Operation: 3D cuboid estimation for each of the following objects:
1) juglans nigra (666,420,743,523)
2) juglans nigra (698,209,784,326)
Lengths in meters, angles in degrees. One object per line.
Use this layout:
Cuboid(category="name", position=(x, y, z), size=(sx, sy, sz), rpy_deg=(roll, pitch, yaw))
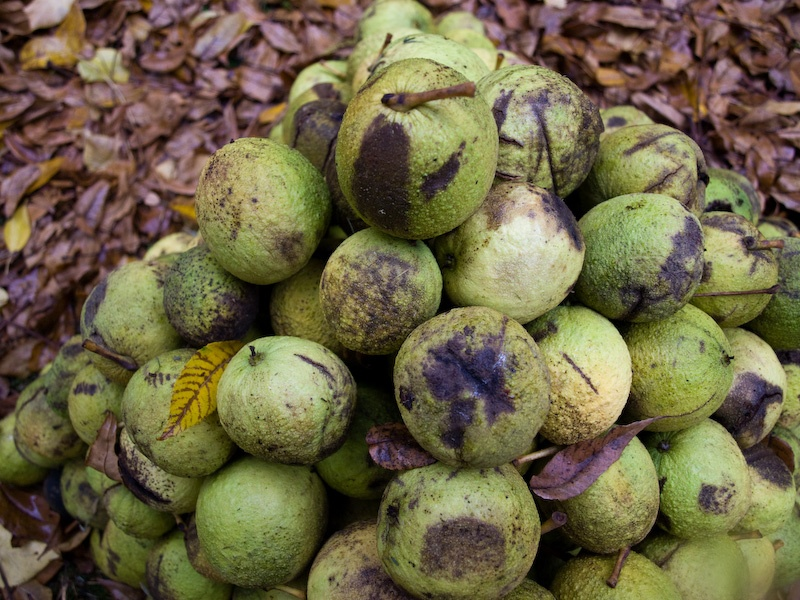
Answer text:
Cuboid(category="juglans nigra", position=(1.237, 0.734, 3.365), size=(0.268, 0.294, 0.398), rpy_deg=(-14, 80, -2))
Cuboid(category="juglans nigra", position=(1.443, -0.113, 3.381), size=(0.304, 0.292, 0.375), rpy_deg=(33, 77, -5))
